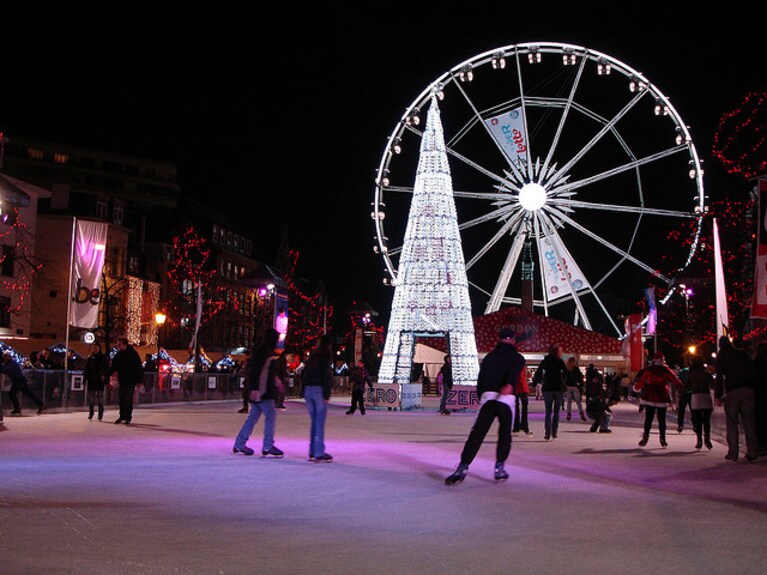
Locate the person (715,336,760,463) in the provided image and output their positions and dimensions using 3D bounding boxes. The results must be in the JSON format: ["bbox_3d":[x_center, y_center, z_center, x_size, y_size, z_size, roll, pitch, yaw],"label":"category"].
[{"bbox_3d":[7.621,2.429,12.521,0.728,2.545,0.793,-2,-10,32],"label":"person"}]

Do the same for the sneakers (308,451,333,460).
[{"bbox_3d":[-1.191,3.163,10.970,0.437,0.202,0.178,0,-3,-4],"label":"sneakers"}]

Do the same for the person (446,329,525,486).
[{"bbox_3d":[1.689,1.808,9.244,0.992,2.486,1.603,2,-9,14],"label":"person"}]

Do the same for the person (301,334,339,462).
[{"bbox_3d":[-1.262,2.135,11.325,0.645,2.389,0.724,5,-9,-9],"label":"person"}]

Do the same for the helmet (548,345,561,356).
[{"bbox_3d":[4.879,1.831,16.611,0.242,0.334,0.287,-3,-6,35],"label":"helmet"}]
